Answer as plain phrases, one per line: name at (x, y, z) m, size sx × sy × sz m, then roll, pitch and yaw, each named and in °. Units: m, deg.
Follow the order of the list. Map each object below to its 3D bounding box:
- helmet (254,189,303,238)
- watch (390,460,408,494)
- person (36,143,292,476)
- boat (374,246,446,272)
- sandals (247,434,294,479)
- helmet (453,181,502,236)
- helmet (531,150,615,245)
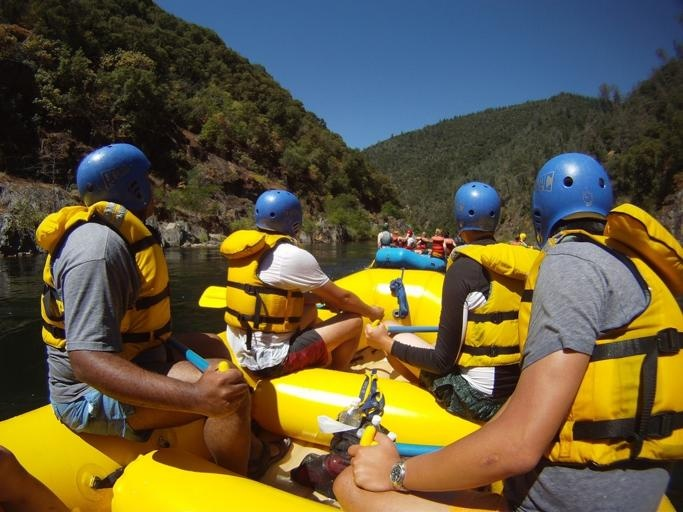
helmet at (-0.491, -0.341, 4.145) m, size 0.282 × 0.348 × 0.373 m, roll 10°, pitch 16°, yaw 37°
watch at (0.251, 0.964, 2.358) m, size 0.044 × 0.103 × 0.113 m, roll -1°, pitch -32°, yaw -13°
person at (-1.026, 0.318, 2.834) m, size 1.100 × 1.816 × 0.761 m, roll 7°, pitch 7°, yaw 30°
boat at (0.849, 0.054, 6.575) m, size 0.726 × 0.223 × 0.377 m, roll 13°, pitch 3°, yaw -35°
sandals at (-0.453, 1.245, 3.390) m, size 0.122 × 0.158 × 0.384 m, roll 5°, pitch 10°, yaw 20°
helmet at (0.890, -0.335, 3.661) m, size 0.265 × 0.373 × 0.357 m, roll 2°, pitch 17°, yaw 3°
helmet at (1.039, -0.312, 2.683) m, size 0.349 × 0.479 × 0.459 m, roll 2°, pitch 17°, yaw 8°
